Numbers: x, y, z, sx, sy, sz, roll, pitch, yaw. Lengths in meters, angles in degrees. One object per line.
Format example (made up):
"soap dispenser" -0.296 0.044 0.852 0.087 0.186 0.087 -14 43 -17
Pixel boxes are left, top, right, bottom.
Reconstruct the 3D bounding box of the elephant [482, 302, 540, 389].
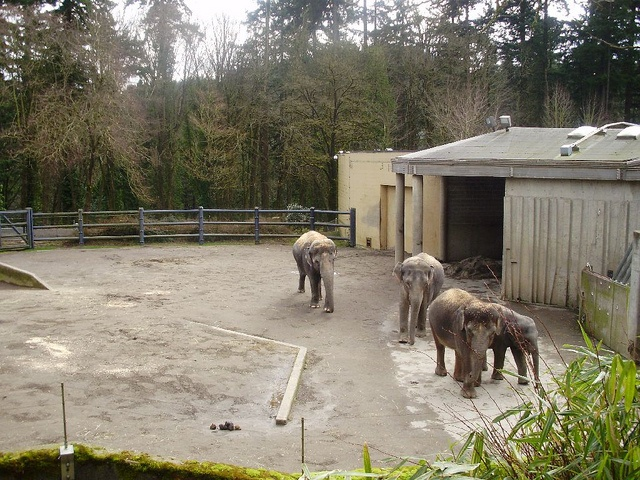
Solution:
"elephant" 2.906 1.604 10.427 0.604 1.173 1.308 -1 0 -27

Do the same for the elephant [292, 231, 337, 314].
"elephant" -0.139 0.625 15.302 0.708 1.554 2.366 -4 10 -16

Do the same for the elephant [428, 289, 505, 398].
"elephant" 2.269 1.596 10.643 0.731 1.526 1.763 1 5 -8
